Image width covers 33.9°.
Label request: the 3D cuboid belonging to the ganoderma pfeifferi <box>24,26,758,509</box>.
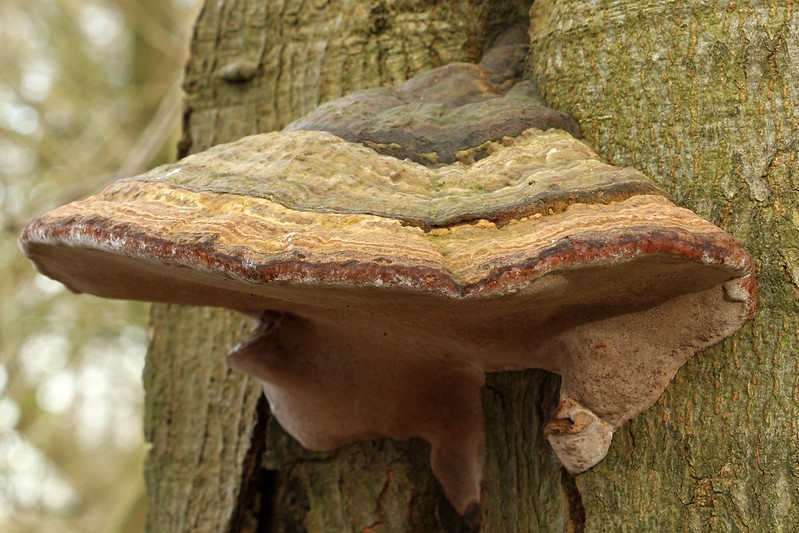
[{"bbox_3d":[0.480,-0.039,6.984,2.771,2.061,2.396,-5,22,21],"label":"ganoderma pfeifferi"}]
